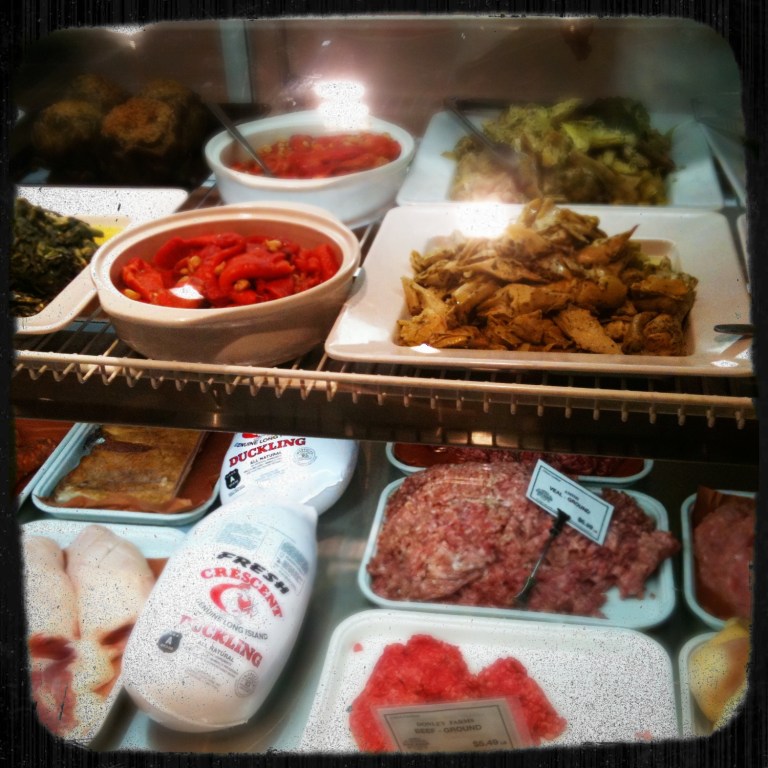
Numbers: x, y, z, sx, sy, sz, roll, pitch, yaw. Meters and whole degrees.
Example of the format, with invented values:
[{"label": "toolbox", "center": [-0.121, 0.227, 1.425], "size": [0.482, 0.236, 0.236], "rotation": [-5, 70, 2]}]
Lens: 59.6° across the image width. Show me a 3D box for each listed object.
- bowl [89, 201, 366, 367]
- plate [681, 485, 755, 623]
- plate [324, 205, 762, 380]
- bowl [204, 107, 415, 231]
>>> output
[{"label": "bowl", "center": [-0.201, -0.099, 0.953], "size": [0.323, 0.104, 0.267], "rotation": [-17, 45, -20]}, {"label": "plate", "center": [0.511, 0.258, 1.028], "size": [0.144, 0.041, 0.181], "rotation": [4, 68, 33]}, {"label": "plate", "center": [0.217, -0.112, 0.887], "size": [0.444, 0.068, 0.277], "rotation": [1, 60, 6]}, {"label": "bowl", "center": [-0.115, -0.335, 1.027], "size": [0.268, 0.099, 0.177], "rotation": [-1, 49, -2]}]
